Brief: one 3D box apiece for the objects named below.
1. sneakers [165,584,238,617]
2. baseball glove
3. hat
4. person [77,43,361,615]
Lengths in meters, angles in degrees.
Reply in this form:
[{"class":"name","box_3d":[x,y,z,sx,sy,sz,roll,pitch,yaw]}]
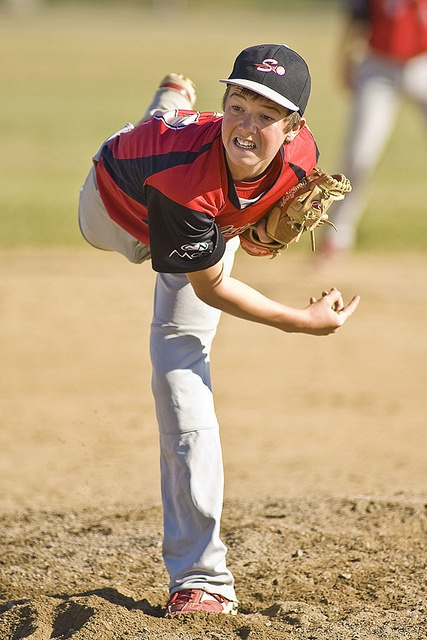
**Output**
[{"class":"sneakers","box_3d":[-0.025,0.779,2.217,0.210,0.071,0.083,1,-24,0]},{"class":"baseball glove","box_3d":[0.257,-0.315,2.340,0.214,0.275,0.112,26,37,-24]},{"class":"hat","box_3d":[0.130,-0.597,1.913,0.228,0.129,0.241,14,26,-9]},{"class":"person","box_3d":[-0.035,0.065,2.321,0.626,1.656,0.870,4,18,-20]}]
